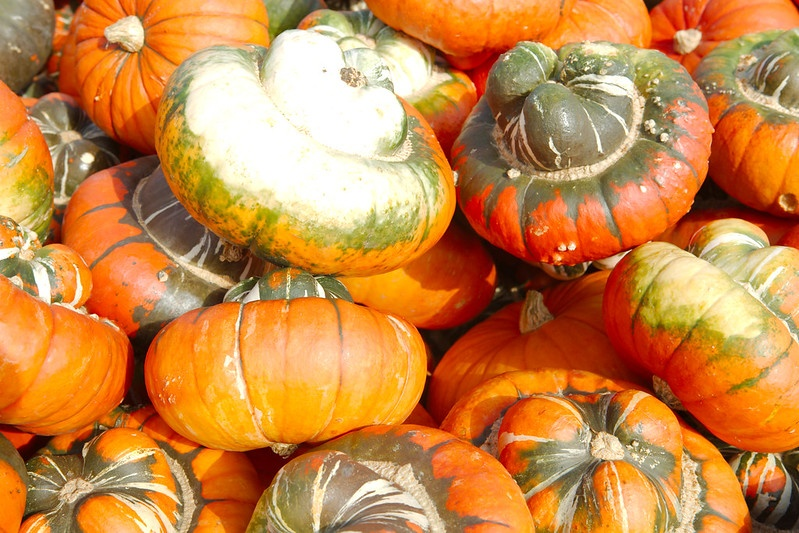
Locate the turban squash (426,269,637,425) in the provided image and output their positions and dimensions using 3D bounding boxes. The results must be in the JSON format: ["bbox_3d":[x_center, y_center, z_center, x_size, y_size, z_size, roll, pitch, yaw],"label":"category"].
[{"bbox_3d":[0.360,0.218,2.230,0.468,0.475,0.435,-16,-79,-1],"label":"turban squash"}]

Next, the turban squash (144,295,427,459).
[{"bbox_3d":[-0.265,0.248,1.784,0.436,0.445,0.242,-3,-93,6],"label":"turban squash"}]
